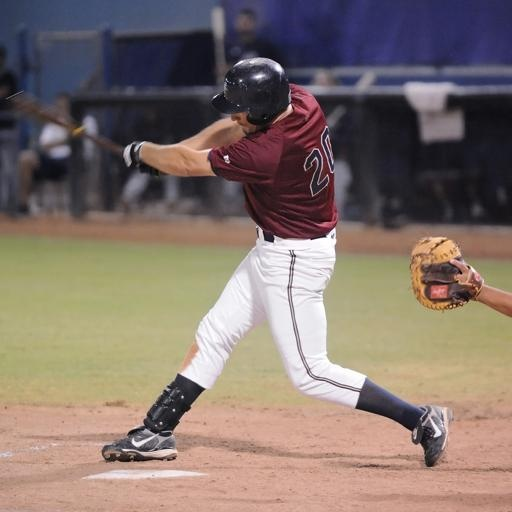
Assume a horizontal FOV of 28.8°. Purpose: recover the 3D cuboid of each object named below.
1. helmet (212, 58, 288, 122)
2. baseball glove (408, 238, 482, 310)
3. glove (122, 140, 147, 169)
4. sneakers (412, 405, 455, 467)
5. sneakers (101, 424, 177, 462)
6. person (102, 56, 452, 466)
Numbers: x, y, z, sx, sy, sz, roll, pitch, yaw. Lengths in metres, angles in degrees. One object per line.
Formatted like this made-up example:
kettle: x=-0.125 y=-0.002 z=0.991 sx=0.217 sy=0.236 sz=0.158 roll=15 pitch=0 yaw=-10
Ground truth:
helmet: x=0.004 y=-0.721 z=4.242 sx=0.366 sy=0.210 sz=0.242 roll=-12 pitch=36 yaw=5
baseball glove: x=0.811 y=0.073 z=4.303 sx=0.281 sy=0.291 sz=0.163 roll=0 pitch=3 yaw=18
glove: x=-0.560 y=-0.447 z=4.378 sx=0.065 sy=0.108 sz=0.086 roll=35 pitch=-10 yaw=11
sneakers: x=0.794 y=0.767 z=4.362 sx=0.172 sy=0.294 sz=0.112 roll=-4 pitch=15 yaw=-5
sneakers: x=-0.508 y=0.826 z=4.369 sx=0.332 sy=0.129 sz=0.140 roll=3 pitch=-9 yaw=-9
person: x=0.115 y=0.042 z=4.337 sx=1.457 sy=1.772 sz=0.418 roll=3 pitch=4 yaw=-8
